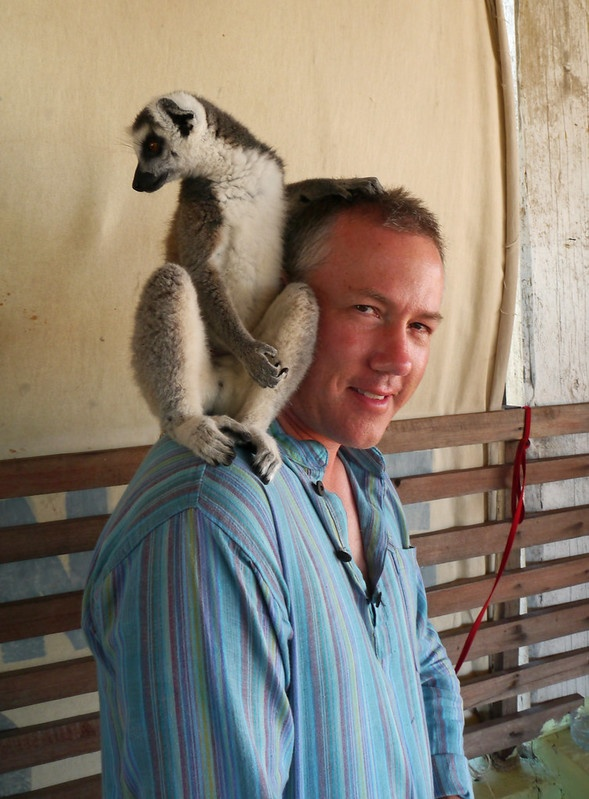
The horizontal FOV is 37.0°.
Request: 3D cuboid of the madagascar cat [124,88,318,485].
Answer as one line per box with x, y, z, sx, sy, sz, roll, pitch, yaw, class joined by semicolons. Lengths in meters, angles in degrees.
-0.174;-0.205;1.785;0.365;0.814;0.349;2;5;-29;madagascar cat
